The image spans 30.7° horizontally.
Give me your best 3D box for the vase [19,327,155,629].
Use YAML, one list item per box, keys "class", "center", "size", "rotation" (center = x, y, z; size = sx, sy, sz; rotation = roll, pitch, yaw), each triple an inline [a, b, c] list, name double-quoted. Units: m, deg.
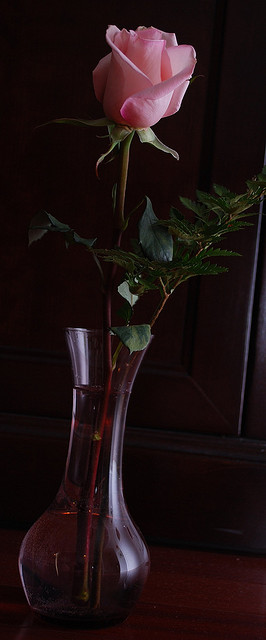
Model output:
- class: "vase"
  center: [-0.036, 0.127, 0.397]
  size: [0.105, 0.236, 0.056]
  rotation: [5, 0, 7]
